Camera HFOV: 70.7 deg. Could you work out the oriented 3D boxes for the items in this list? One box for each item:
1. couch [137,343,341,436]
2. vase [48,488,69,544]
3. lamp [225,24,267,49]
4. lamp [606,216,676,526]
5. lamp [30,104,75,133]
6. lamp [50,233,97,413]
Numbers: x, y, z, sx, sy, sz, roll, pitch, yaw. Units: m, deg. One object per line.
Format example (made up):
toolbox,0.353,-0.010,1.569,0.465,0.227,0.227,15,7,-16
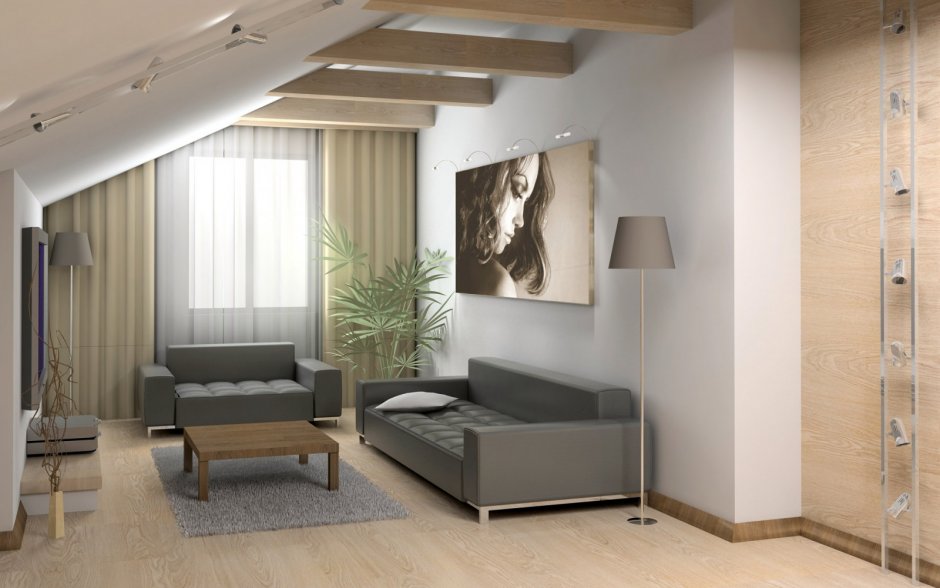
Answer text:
couch,-2.740,1.100,7.911,2.140,0.928,1.248,-1,4,-19
vase,-2.969,1.559,4.758,0.102,0.323,0.219,-3,5,-32
lamp,-1.065,-1.207,3.123,0.219,0.104,0.116,2,5,-8
lamp,1.316,0.552,5.133,0.446,2.313,0.572,2,5,20
lamp,-1.966,-0.813,3.120,0.167,0.095,0.357,-2,4,-32
lamp,-4.666,0.298,7.838,0.425,2.113,0.591,-3,6,-30
